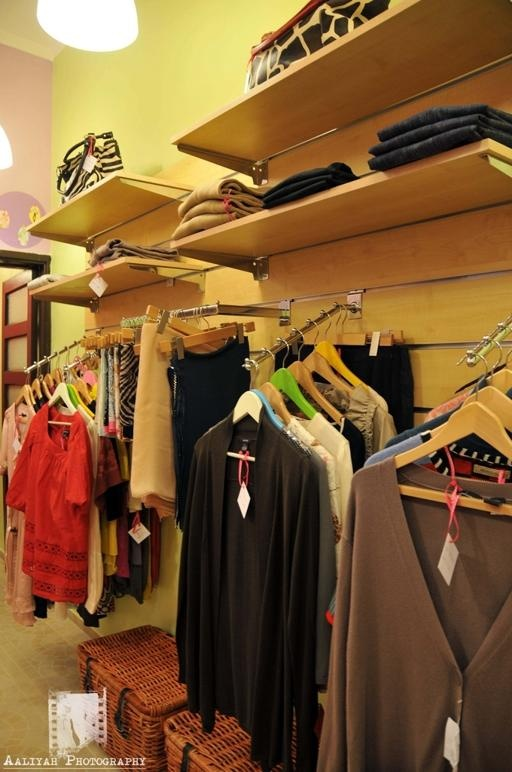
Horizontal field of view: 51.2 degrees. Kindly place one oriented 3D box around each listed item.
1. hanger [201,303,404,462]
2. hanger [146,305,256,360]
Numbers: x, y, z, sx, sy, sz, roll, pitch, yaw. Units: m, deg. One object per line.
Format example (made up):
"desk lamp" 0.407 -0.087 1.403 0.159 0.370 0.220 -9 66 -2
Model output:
"hanger" 0.088 -0.002 1.424 0.177 0.288 0.676 -12 8 -14
"hanger" -0.174 -0.132 1.604 0.241 0.112 0.172 4 6 -35
